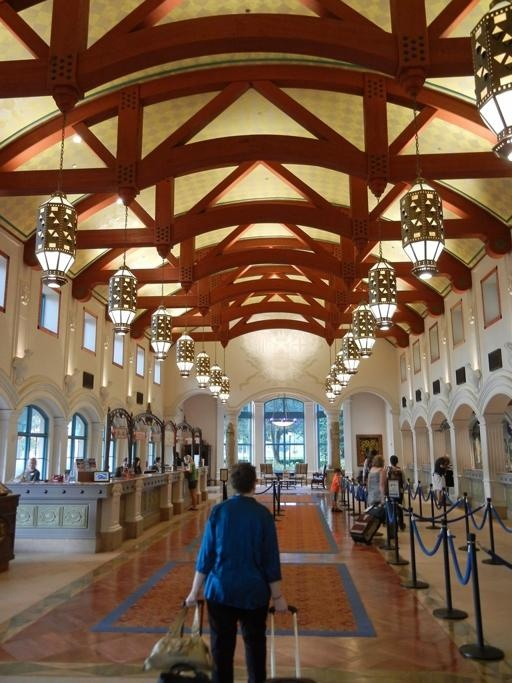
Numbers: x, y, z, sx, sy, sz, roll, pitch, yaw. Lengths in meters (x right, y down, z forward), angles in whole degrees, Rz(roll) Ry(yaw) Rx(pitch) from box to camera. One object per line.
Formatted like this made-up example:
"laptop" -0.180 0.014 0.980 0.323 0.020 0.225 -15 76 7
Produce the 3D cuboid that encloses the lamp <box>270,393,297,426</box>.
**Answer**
"lamp" 1.200 3.533 25.263 1.354 1.847 1.398 12 -14 -42

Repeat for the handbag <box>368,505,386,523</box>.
"handbag" 2.113 2.992 8.753 0.297 0.329 0.400 -3 -12 12

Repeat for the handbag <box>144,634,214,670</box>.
"handbag" -0.382 1.507 2.479 0.254 0.086 0.195 0 -32 0

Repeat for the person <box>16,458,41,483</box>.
"person" -4.384 2.460 9.609 0.371 0.407 1.974 5 -12 -23
